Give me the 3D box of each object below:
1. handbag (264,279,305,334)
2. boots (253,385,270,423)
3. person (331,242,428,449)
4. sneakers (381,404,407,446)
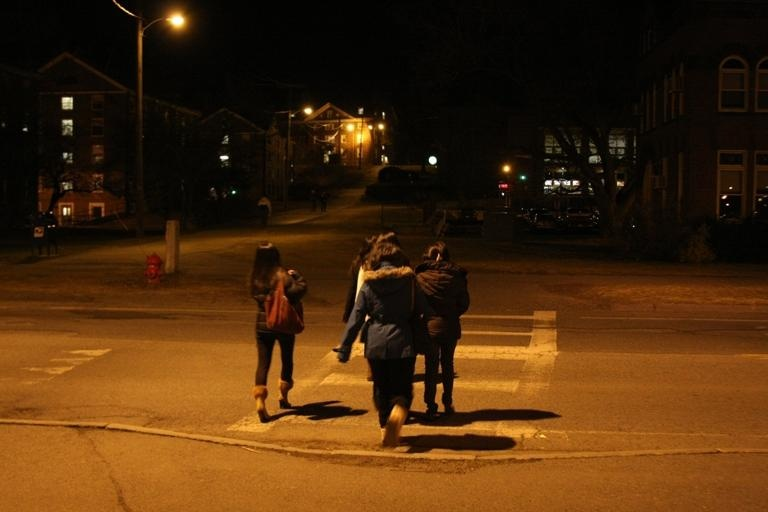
[{"bbox_3d":[-1.520,0.767,13.087,0.366,0.770,0.641,-18,-22,40],"label":"handbag"},{"bbox_3d":[-1.831,2.203,13.116,0.250,0.354,0.536,2,1,-7],"label":"boots"},{"bbox_3d":[-0.016,1.214,12.156,0.984,2.124,0.671,3,1,10],"label":"person"},{"bbox_3d":[0.142,2.310,11.945,0.224,0.670,0.292,15,8,1],"label":"sneakers"}]
